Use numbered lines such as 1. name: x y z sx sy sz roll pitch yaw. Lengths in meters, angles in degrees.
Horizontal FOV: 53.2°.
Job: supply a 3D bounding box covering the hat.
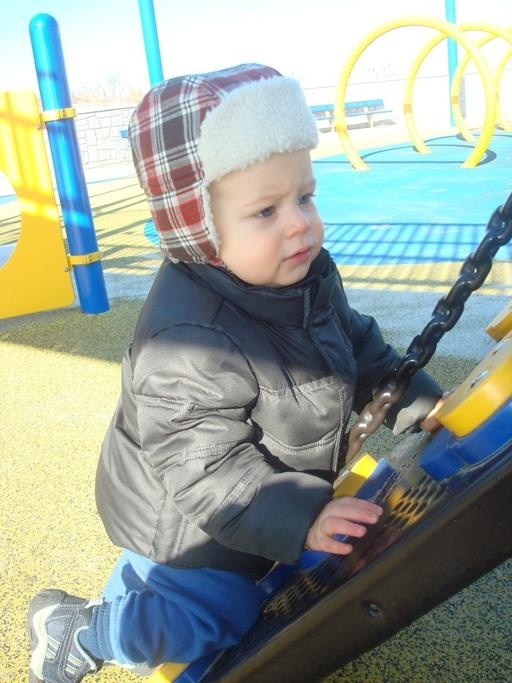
1. hat: -0.067 -0.314 0.979 0.351 0.297 0.314 0 23 24
